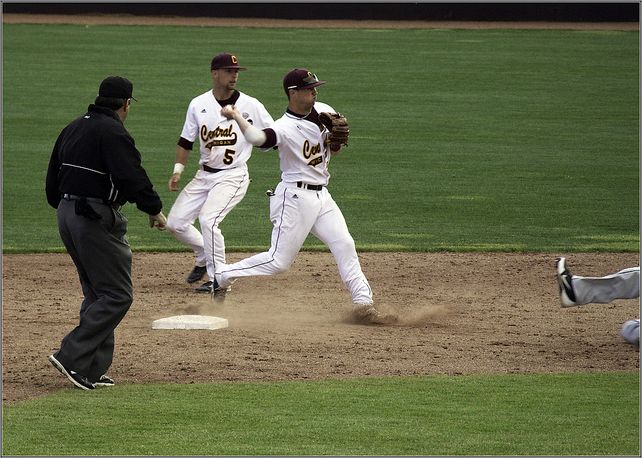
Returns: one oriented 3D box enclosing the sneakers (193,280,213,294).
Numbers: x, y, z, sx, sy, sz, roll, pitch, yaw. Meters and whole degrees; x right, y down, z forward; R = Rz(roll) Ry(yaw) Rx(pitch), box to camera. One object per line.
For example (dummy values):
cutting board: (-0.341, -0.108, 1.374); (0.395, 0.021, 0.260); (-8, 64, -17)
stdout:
sneakers: (-1.884, 0.954, 23.614); (0.387, 0.132, 0.152); (-1, 0, 12)

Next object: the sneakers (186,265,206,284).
sneakers: (-2.050, 0.753, 23.978); (0.457, 0.150, 0.184); (-33, -2, -4)

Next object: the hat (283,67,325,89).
hat: (-0.283, -2.288, 22.167); (0.490, 0.188, 0.343); (-9, 17, 9)

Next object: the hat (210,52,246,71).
hat: (-1.507, -2.703, 23.282); (0.468, 0.211, 0.286); (1, 21, 7)

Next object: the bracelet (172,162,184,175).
bracelet: (-2.318, -0.971, 23.661); (0.209, 0.254, 0.174); (2, -25, -2)

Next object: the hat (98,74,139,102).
hat: (-2.906, -2.057, 21.031); (0.364, 0.250, 0.488); (15, 17, 33)

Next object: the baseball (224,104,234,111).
baseball: (-1.395, -1.851, 22.050); (0.196, 0.094, 0.237); (0, 20, -2)
